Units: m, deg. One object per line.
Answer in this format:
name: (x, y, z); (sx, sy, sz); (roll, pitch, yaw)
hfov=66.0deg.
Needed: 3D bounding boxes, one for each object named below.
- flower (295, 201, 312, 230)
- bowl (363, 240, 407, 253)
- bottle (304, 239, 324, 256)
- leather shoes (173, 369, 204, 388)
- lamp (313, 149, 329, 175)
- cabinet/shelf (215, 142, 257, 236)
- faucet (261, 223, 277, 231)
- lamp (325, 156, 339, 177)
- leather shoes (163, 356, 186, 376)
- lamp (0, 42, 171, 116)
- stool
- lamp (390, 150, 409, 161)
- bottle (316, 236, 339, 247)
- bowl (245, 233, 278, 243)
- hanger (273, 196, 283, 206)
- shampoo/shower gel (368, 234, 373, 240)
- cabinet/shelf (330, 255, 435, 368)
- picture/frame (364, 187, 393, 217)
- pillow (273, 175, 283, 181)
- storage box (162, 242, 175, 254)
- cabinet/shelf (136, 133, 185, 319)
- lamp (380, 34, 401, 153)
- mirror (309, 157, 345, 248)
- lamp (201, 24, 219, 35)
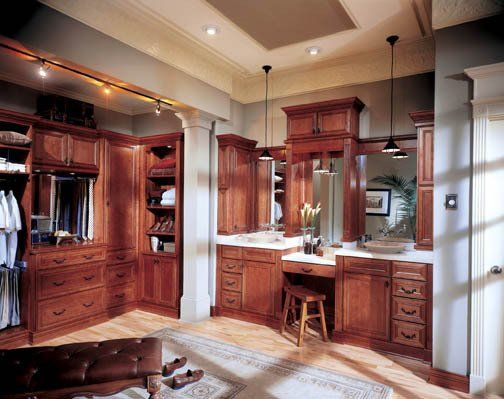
flower: (0.733, 0.231, 5.480); (0.272, 0.358, 0.349); (5, 6, 35)
bowl: (1.617, 0.560, 4.751); (0.484, 0.120, 0.471); (0, 8, 0)
bottle: (0.811, 0.640, 5.219); (0.254, 0.191, 0.246); (0, 8, 0)
leather shoes: (-0.650, 1.781, 3.897); (0.134, 0.099, 0.274); (-1, 1, 40)
lamp: (0.952, -0.510, 5.447); (0.248, 0.271, 0.240); (3, 3, 8)
cabinet/shelf: (-0.256, -0.234, 5.774); (0.379, 1.433, 0.764); (4, 10, 28)
faucet: (0.239, 0.419, 5.843); (0.113, 0.136, 0.289); (-9, 12, -44)
lamp: (1.094, -0.460, 5.350); (0.210, 0.301, 0.210); (3, 2, 41)
leather shoes: (-0.821, 1.742, 4.087); (0.099, 0.082, 0.269); (2, 2, 24)
lamp: (-1.711, -1.269, 4.236); (0.315, 0.522, 1.827); (7, 11, 40)
stool: (0.649, 1.418, 4.892); (0.673, 0.824, 0.602); (7, -7, -36)
lamp: (1.837, -0.559, 4.850); (0.131, 0.077, 0.118); (-1, -4, 5)
bottle: (1.015, 0.523, 5.311); (0.264, 0.238, 0.140); (-2, -6, 24)
bowl: (0.130, 0.556, 5.651); (0.457, 0.131, 0.333); (0, 8, 5)
hanger: (0.388, 0.010, 5.747); (0.035, 0.148, 0.206); (-5, 10, -28)
shampoo/shower gel: (1.527, 0.488, 5.044); (0.064, 0.112, 0.064); (-2, -5, 28)
cabinet/shelf: (1.523, 1.278, 4.403); (1.293, 1.135, 0.537); (0, -4, 27)
picture/frame: (1.643, 0.029, 5.022); (0.399, 0.377, 0.028); (3, 3, 35)
pillow: (0.382, -0.320, 5.824); (0.138, 0.086, 0.046); (6, 11, 37)
storage box: (-1.234, 0.700, 5.733); (0.164, 0.093, 0.163); (-1, -4, 25)
cabinet/shelf: (-1.385, 0.334, 5.800); (0.747, 2.608, 1.124); (-3, 9, -17)
lamp: (1.705, -1.283, 4.728); (0.216, 1.429, 0.694); (3, 9, 18)
mirror: (1.027, 0.003, 5.367); (0.456, 1.151, 0.281); (3, 9, 19)
lamp: (-0.501, -2.038, 4.652); (0.185, 0.060, 0.252); (-1, 8, -4)
